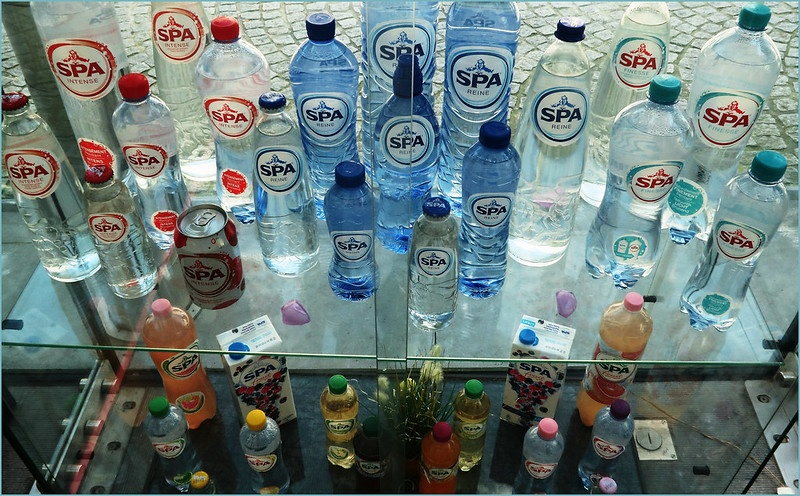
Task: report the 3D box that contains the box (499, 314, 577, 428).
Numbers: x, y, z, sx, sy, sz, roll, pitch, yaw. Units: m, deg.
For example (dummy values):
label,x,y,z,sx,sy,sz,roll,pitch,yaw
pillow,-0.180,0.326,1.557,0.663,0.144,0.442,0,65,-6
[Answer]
label,x,y,z,sx,sy,sz,roll,pitch,yaw
box,0.390,0.370,1.645,0.156,0.367,0.115,13,39,14

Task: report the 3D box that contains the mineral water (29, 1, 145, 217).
label,x,y,z,sx,sy,sz,roll,pitch,yaw
mineral water,-0.825,-0.362,1.483,0.291,0.528,0.124,4,21,13

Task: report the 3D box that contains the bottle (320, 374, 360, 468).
label,x,y,z,sx,sy,sz,roll,pitch,yaw
bottle,-0.173,0.505,1.653,0.106,0.097,0.333,-18,27,1

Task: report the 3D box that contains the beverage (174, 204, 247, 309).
label,x,y,z,sx,sy,sz,roll,pitch,yaw
beverage,-0.479,0.026,1.430,0.147,0.235,0.150,30,45,28

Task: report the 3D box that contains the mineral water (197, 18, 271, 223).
label,x,y,z,sx,sy,sz,roll,pitch,yaw
mineral water,-0.422,-0.323,1.477,0.185,0.535,0.143,-5,21,-11
